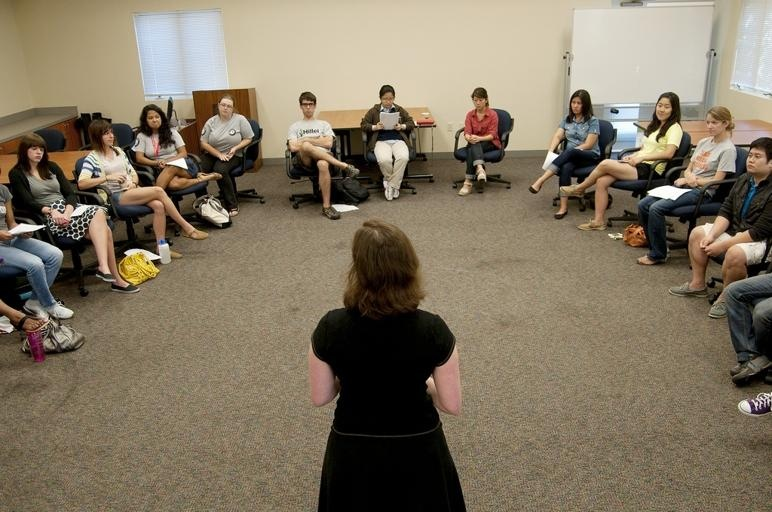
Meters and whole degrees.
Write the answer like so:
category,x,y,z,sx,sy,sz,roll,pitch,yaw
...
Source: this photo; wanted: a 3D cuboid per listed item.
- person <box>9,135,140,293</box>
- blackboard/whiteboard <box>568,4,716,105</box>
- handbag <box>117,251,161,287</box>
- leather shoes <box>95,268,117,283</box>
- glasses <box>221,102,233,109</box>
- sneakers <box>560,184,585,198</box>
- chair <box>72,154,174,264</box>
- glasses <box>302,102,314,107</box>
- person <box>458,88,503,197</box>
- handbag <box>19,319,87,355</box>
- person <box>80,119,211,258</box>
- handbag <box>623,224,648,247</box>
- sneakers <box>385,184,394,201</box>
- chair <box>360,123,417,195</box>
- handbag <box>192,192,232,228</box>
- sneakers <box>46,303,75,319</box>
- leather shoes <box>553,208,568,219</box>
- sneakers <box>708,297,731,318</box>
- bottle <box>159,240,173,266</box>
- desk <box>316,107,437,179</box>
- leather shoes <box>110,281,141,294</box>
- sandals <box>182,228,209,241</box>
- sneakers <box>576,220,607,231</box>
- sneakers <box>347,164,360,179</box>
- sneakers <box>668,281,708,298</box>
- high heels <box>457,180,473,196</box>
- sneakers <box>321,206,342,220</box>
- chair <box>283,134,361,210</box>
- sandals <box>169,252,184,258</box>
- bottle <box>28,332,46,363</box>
category,x,y,z,sx,sy,sz,roll,pitch,yaw
person,-2.795,-0.405,4.928,1.361,1.301,0.647,15,29,24
blackboard/whiteboard,3.932,-3.119,8.371,2.113,1.454,0.379,-2,24,-2
handbag,-2.432,0.076,5.270,0.357,0.147,0.312,25,32,32
leather shoes,-2.651,0.197,5.099,0.296,0.116,0.118,11,13,42
glasses,-2.023,-1.923,6.868,0.162,0.091,0.068,-11,25,-22
sneakers,2.170,-0.771,6.338,0.289,0.130,0.131,5,16,7
chair,-2.721,-0.488,5.567,0.911,1.058,0.882,4,24,9
glasses,-0.998,-1.955,6.904,0.156,0.052,0.072,-7,24,-14
person,1.309,-1.596,7.421,0.545,1.342,0.798,3,24,11
handbag,-2.613,0.664,4.257,0.388,0.161,0.258,-3,21,-12
person,-2.572,-0.722,5.663,1.063,1.302,0.686,9,27,8
handbag,2.601,-0.228,5.678,0.220,0.152,0.217,1,21,1
sneakers,0.047,-0.868,7.340,0.087,0.248,0.099,-5,-7,-6
chair,0.045,-1.364,7.436,0.587,0.984,0.721,-9,25,-16
handbag,-2.071,-0.542,6.466,0.312,0.442,0.189,-39,0,-25
sneakers,-2.780,0.476,4.626,0.207,0.091,0.092,1,17,-3
leather shoes,2.074,-0.513,6.447,0.083,0.090,0.233,2,11,28
sneakers,2.690,0.433,4.383,0.133,0.125,0.314,4,15,21
bottle,-2.289,-0.041,5.582,0.111,0.226,0.136,-11,25,-20
desk,-0.159,-1.657,7.795,1.408,0.686,0.746,-2,44,0
leather shoes,-2.429,0.293,5.071,0.261,0.082,0.101,2,14,0
sandals,-2.176,-0.259,6.192,0.239,0.092,0.125,2,24,9
sneakers,2.316,-0.348,6.076,0.281,0.115,0.119,3,9,6
sneakers,-0.436,-1.126,7.131,0.115,0.127,0.283,-16,14,-17
sneakers,2.602,0.298,4.702,0.312,0.122,0.120,7,13,20
high heels,1.092,-0.953,7.486,0.121,0.129,0.324,3,13,16
sneakers,-0.695,-0.544,6.745,0.261,0.124,0.122,16,30,42
chair,-0.793,-1.142,7.089,0.752,1.098,1.051,-4,19,-10
sandals,-2.209,-0.015,5.688,0.121,0.046,0.044,1,22,-3
bottle,-2.656,0.690,4.118,0.097,0.228,0.102,-1,24,1
